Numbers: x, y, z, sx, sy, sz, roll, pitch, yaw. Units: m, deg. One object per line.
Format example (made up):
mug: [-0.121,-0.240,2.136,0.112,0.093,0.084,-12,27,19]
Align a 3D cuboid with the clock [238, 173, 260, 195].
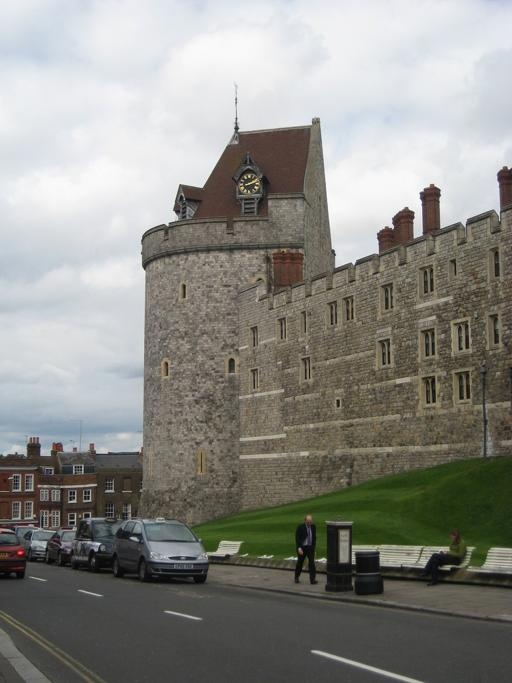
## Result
clock: [-0.407,-8.619,52.015,1.260,1.493,0.156,-3,-31,6]

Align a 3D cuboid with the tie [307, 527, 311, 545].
tie: [1.101,4.063,19.860,0.105,0.342,0.040,-2,-6,5]

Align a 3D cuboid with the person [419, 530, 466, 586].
person: [3.810,4.377,19.413,1.054,1.023,0.883,1,-7,-19]

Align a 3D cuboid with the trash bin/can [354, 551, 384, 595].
trash bin/can: [2.053,4.297,17.685,0.676,0.974,0.698,0,-12,0]

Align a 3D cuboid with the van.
van: [-2.168,4.733,21.803,1.248,0.986,2.231,6,-16,-23]
